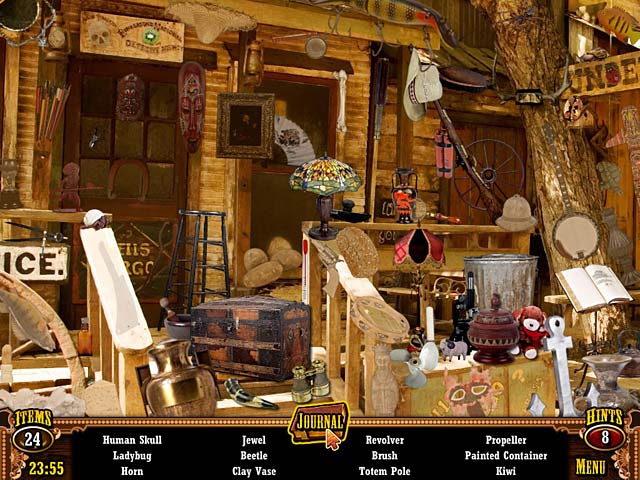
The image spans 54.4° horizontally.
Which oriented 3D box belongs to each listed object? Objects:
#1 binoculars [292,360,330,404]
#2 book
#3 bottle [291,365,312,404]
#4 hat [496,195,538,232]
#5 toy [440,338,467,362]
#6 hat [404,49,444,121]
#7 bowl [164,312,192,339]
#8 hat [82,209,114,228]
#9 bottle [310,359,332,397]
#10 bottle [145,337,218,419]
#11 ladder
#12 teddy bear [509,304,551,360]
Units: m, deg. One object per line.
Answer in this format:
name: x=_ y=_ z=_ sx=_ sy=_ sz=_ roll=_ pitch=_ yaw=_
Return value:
binoculars: x=-0.048 y=1.049 z=4.631 sx=0.265 sy=0.296 sz=0.260 roll=6 pitch=9 yaw=5
book: x=2.240 y=0.386 z=5.124 sx=0.788 sy=0.329 sz=0.769 roll=0 pitch=2 yaw=-37
bottle: x=-0.130 y=1.060 z=4.610 sx=0.145 sy=0.261 sz=0.110 roll=-2 pitch=6 yaw=-5
hat: x=2.109 y=-0.237 z=6.625 sx=0.358 sy=0.255 sz=0.397 roll=14 pitch=23 yaw=35
toy: x=1.025 y=0.843 z=4.783 sx=0.244 sy=0.143 sz=0.095 roll=5 pitch=-3 yaw=-5
hat: x=1.264 y=-1.951 z=7.639 sx=0.349 sy=0.701 sz=0.739 roll=0 pitch=1 yaw=-8
bowl: x=-1.241 y=0.764 z=5.499 sx=0.230 sy=0.213 sz=0.498 roll=0 pitch=1 yaw=-14
hat: x=-1.522 y=-0.138 z=4.258 sx=0.180 sy=0.132 sz=0.222 roll=0 pitch=1 yaw=-22
bottle: x=0.007 y=1.044 z=4.680 sx=0.146 sy=0.252 sz=0.117 roll=-3 pitch=3 yaw=-9
bottle: x=-0.861 y=0.842 z=4.118 sx=0.459 sy=0.586 sz=0.456 roll=-10 pitch=-6 yaw=-1
ladder: x=-1.536 y=0.335 z=7.674 sx=0.809 sy=1.397 sz=0.857 roll=1 pitch=1 yaw=10
teddy bear: x=1.571 y=0.688 z=4.659 sx=0.280 sy=0.395 sz=0.243 roll=7 pitch=7 yaw=40
